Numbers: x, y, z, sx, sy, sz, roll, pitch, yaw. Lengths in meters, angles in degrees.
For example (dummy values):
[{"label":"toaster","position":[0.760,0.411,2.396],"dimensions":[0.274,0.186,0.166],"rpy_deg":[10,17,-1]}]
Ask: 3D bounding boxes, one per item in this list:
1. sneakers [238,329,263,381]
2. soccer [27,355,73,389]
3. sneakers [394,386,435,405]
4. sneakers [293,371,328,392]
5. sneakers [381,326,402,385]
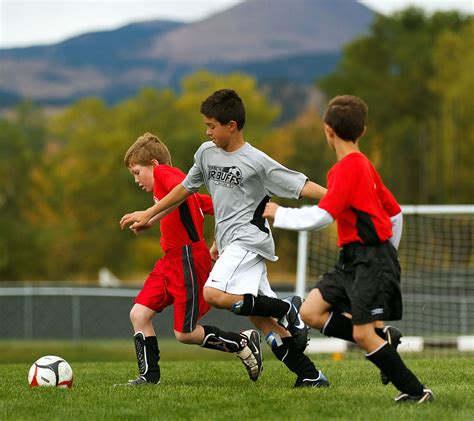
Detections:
[{"label":"sneakers","position":[0.173,1.605,10.995],"dimensions":[0.262,0.611,0.191],"rpy_deg":[-6,-7,-20]},{"label":"soccer","position":[-2.071,1.773,10.810],"dimensions":[0.359,0.380,0.390],"rpy_deg":[-11,-31,8]},{"label":"sneakers","position":[1.818,1.903,10.094],"dimensions":[0.402,0.194,0.157],"rpy_deg":[0,-15,1]},{"label":"sneakers","position":[0.812,1.847,10.571],"dimensions":[0.397,0.174,0.152],"rpy_deg":[-3,-2,-10]},{"label":"sneakers","position":[1.629,1.482,10.490],"dimensions":[0.274,0.655,0.220],"rpy_deg":[15,-39,-7]}]
